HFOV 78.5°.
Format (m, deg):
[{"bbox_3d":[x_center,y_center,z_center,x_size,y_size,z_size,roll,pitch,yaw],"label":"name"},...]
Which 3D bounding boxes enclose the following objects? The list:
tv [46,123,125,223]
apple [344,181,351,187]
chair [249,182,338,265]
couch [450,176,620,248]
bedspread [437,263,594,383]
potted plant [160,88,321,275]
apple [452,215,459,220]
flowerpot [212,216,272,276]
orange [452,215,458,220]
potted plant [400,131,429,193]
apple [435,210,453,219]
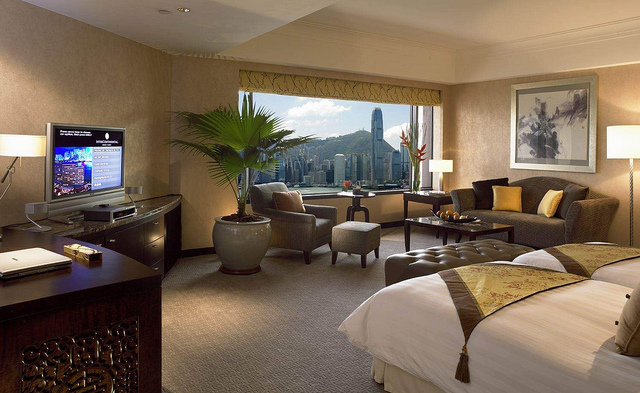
[{"bbox_3d":[-2.461,-0.266,4.208,1.127,0.971,0.186,-1,-1,21],"label":"tv"},{"bbox_3d":[0.481,-0.239,7.127,0.094,0.057,0.112,-1,-2,-4],"label":"apple"},{"bbox_3d":[-0.389,0.355,6.151,1.369,1.016,1.345,-2,9,-32],"label":"chair"},{"bbox_3d":[3.605,0.307,6.802,1.122,1.095,2.354,-10,10,-29],"label":"couch"},{"bbox_3d":[1.397,0.911,2.882,0.832,0.180,0.794,-4,6,-1],"label":"bedspread"},{"bbox_3d":[-1.018,-0.056,5.603,2.151,2.260,2.146,10,-12,-23],"label":"potted plant"},{"bbox_3d":[1.895,0.285,5.472,0.067,0.046,0.051,-3,8,-2],"label":"apple"},{"bbox_3d":[-1.146,0.694,5.452,0.837,0.687,0.814,0,-4,26],"label":"flowerpot"},{"bbox_3d":[1.885,0.290,5.465,0.058,0.052,0.056,-1,2,-8],"label":"orange"},{"bbox_3d":[1.861,-0.701,8.018,0.506,1.234,0.996,3,12,14],"label":"potted plant"},{"bbox_3d":[1.794,0.251,5.615,0.156,0.115,0.317,-3,12,-13],"label":"apple"}]
